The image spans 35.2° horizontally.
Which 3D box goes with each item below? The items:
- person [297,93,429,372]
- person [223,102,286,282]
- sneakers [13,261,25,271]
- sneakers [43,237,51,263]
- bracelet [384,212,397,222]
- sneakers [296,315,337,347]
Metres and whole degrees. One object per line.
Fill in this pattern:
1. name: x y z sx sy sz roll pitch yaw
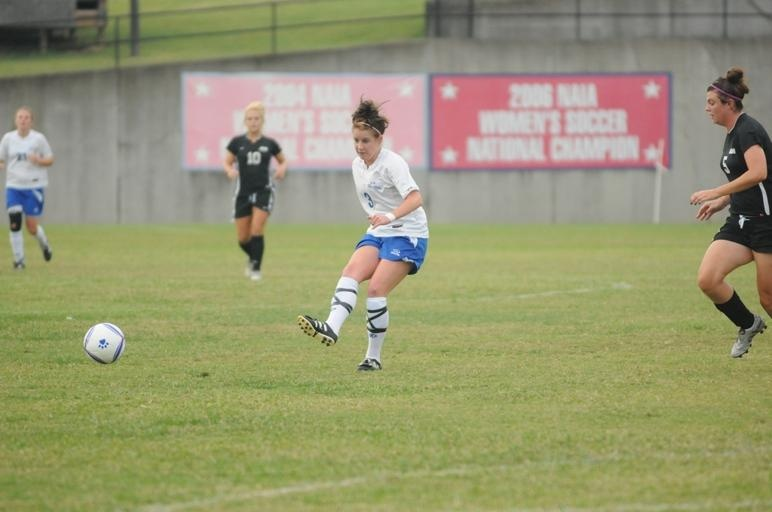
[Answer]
1. person: -0.108 -0.215 12.429 0.936 2.758 1.300 2 5 24
2. person: -1.770 -0.870 16.409 0.707 2.391 0.737 -3 5 -33
3. sneakers: -4.817 0.119 16.025 0.114 0.093 0.114 2 -2 -11
4. sneakers: -4.564 -0.041 16.345 0.092 0.235 0.107 -10 -1 12
5. bracelet: 0.050 -0.400 12.175 0.066 0.082 0.086 3 12 -28
6. sneakers: -0.705 0.776 12.468 0.148 0.429 0.193 -35 22 48
